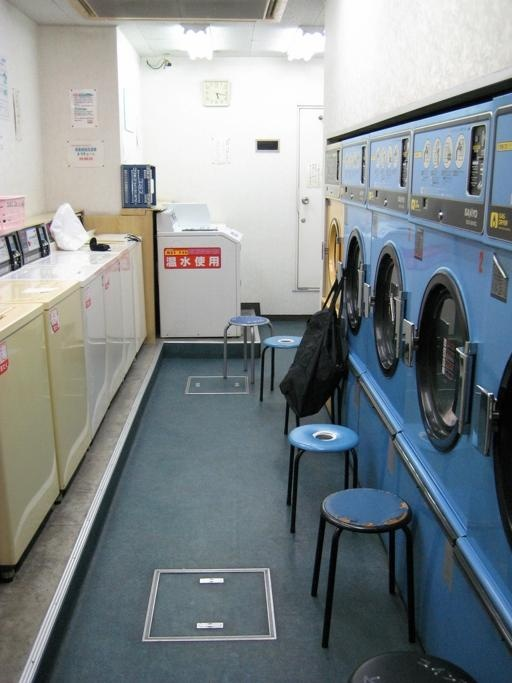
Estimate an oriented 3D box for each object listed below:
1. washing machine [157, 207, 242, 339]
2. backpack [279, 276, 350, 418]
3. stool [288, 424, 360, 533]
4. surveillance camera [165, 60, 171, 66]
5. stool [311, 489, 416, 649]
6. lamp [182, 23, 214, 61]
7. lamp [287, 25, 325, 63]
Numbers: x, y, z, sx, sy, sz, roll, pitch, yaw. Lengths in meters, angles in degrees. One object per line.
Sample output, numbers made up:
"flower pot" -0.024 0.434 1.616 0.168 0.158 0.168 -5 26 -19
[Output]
"washing machine" -0.616 -0.660 4.975 0.900 2.020 1.224 -1 10 -2
"backpack" 0.377 -0.028 2.808 0.216 0.971 0.480 14 2 -17
"stool" 0.277 0.646 2.110 0.264 0.439 0.327 5 6 -11
"surveillance camera" -1.087 -3.421 5.640 0.077 0.059 0.093 -1 7 -5
"stool" 0.349 0.689 1.605 0.317 0.607 0.378 1 7 -1
"lamp" -0.572 -2.948 4.470 0.267 0.131 0.572 0 8 -1
"lamp" 0.507 -3.067 4.653 0.354 0.175 0.556 0 8 4
